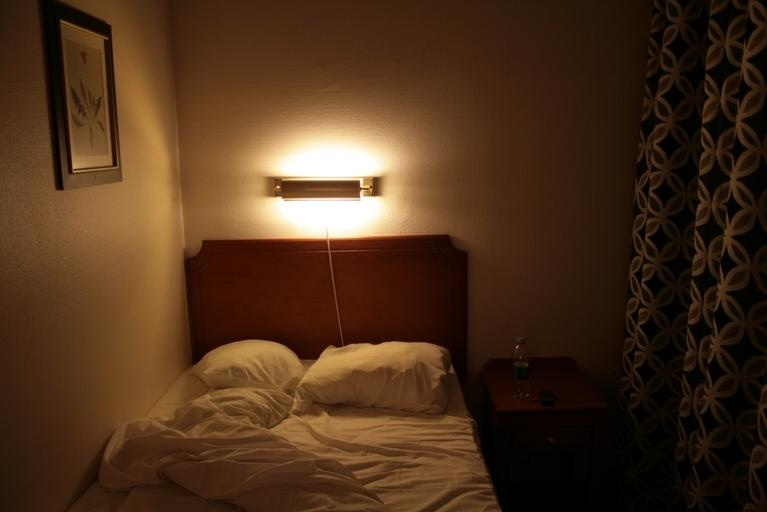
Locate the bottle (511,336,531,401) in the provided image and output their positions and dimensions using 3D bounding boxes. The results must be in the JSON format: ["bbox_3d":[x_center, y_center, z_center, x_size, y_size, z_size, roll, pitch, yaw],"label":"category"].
[{"bbox_3d":[0.807,0.658,3.433,0.104,0.345,0.103,0,4,0],"label":"bottle"}]

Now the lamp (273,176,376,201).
[{"bbox_3d":[-0.352,-0.409,3.552,0.649,0.141,0.165,0,5,-8],"label":"lamp"}]

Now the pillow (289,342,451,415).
[{"bbox_3d":[-0.017,0.673,3.233,0.515,0.154,0.463,-3,10,8],"label":"pillow"}]
